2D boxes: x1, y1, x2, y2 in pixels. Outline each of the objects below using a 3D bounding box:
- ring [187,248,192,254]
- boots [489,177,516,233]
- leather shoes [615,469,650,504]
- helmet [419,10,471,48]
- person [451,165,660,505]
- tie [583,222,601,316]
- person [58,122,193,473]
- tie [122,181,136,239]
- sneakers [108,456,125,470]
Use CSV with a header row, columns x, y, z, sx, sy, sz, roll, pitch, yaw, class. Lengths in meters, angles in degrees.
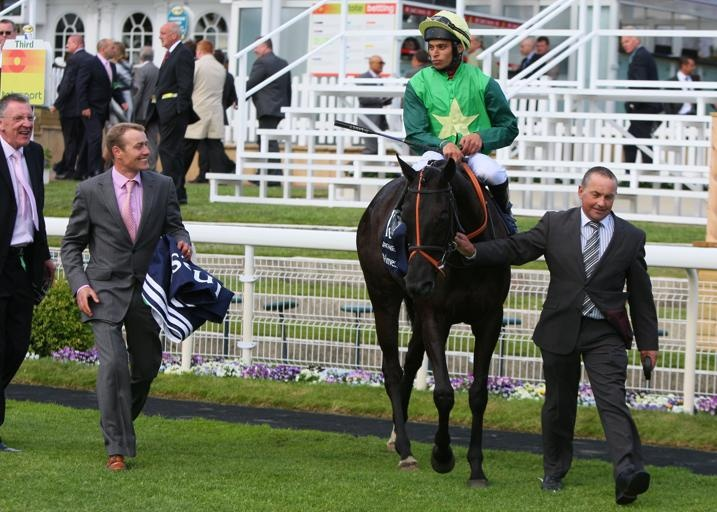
x,y,z,sx,sy,sz,roll,pitch,yaw,class
-1.330,-0.032,12.730,0.029,0.061,0.099,-1,-9,-4,ring
1.162,-0.407,12.842,0.140,0.557,0.300,-15,-47,6,boots
2.001,1.739,11.995,0.151,0.161,0.349,20,-51,-24,leather shoes
0.701,-1.804,12.795,0.345,0.178,0.267,28,-7,3,helmet
1.676,0.599,12.235,1.144,2.580,0.402,2,0,15,person
1.773,0.110,12.251,0.131,0.742,0.083,2,0,8,tie
-1.835,0.309,12.606,0.961,2.641,0.594,2,0,-10,person
-1.790,-0.359,12.640,0.096,0.426,0.062,-2,-15,8,tie
-1.839,1.608,12.346,0.071,0.075,0.165,0,2,-28,sneakers
